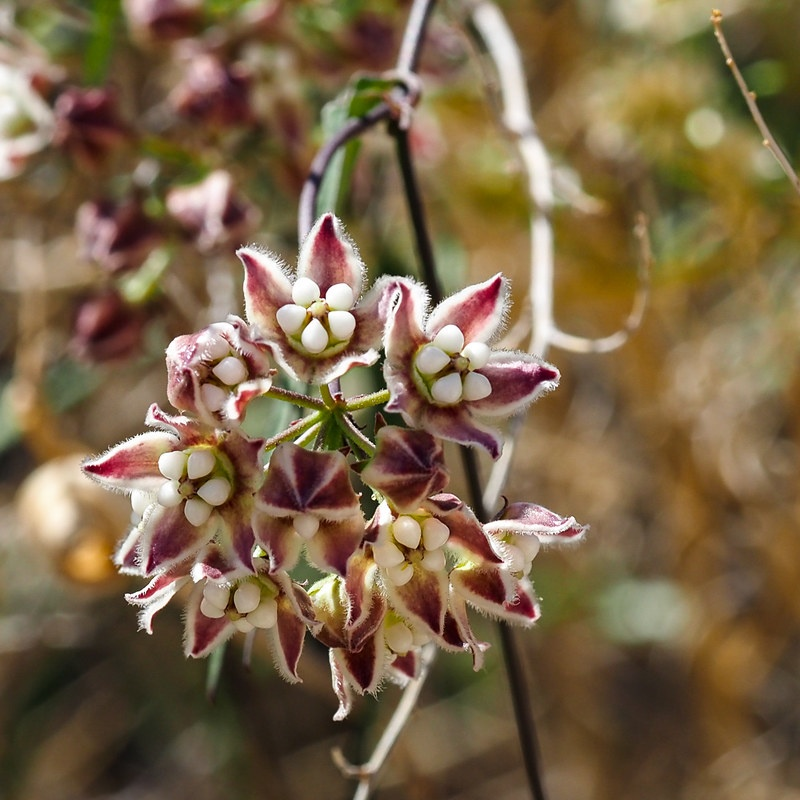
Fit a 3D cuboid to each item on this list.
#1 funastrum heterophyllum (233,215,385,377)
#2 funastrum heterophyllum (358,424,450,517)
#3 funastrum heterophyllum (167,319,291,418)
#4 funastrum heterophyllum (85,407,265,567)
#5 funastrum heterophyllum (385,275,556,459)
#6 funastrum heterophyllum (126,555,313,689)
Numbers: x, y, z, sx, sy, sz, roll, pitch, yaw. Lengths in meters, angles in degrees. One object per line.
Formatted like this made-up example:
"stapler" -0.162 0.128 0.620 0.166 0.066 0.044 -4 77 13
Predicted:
"funastrum heterophyllum" -0.116 -0.133 1.571 0.247 0.105 0.211 7 74 -4
"funastrum heterophyllum" 0.009 0.094 1.545 0.114 0.066 0.115 16 81 3
"funastrum heterophyllum" -0.240 -0.039 1.518 0.145 0.091 0.133 2 94 -11
"funastrum heterophyllum" -0.279 0.113 1.601 0.264 0.101 0.222 23 108 14
"funastrum heterophyllum" 0.096 -0.047 1.553 0.238 0.082 0.260 -4 80 0
"funastrum heterophyllum" -0.192 0.277 1.631 0.255 0.224 0.094 19 111 -11
